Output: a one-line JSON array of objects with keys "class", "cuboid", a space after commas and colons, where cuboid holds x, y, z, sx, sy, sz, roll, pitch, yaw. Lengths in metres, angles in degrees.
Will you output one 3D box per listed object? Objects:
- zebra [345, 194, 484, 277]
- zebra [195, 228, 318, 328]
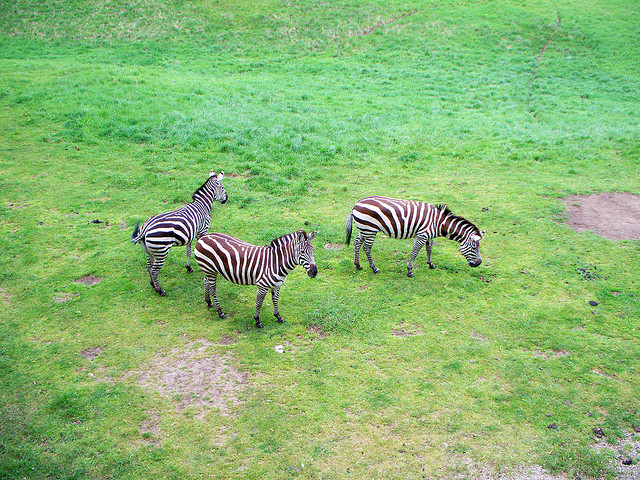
[{"class": "zebra", "cuboid": [2.744, -0.016, 21.831, 3.980, 2.299, 1.050, 5, 39, 4]}, {"class": "zebra", "cuboid": [-1.828, 1.179, 20.357, 2.472, 2.005, 0.801, 6, 12, 6]}]
